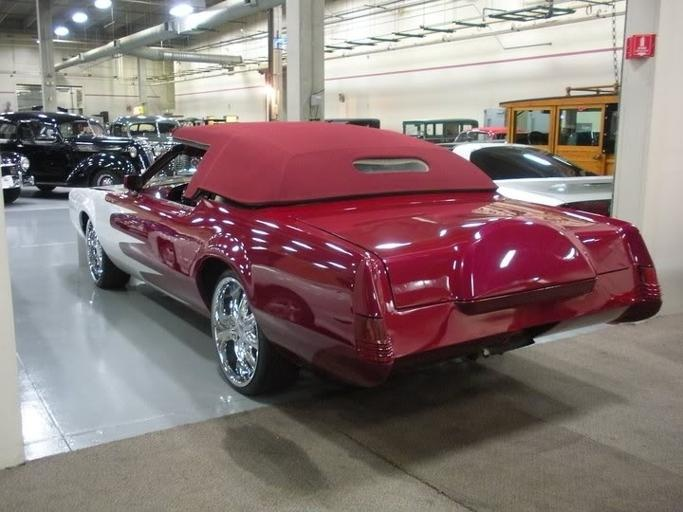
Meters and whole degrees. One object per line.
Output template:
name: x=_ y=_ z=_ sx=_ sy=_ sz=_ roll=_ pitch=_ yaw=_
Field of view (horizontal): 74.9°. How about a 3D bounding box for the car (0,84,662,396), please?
car: x=0.010 y=-0.057 z=2.736 sx=2.856 sy=1.563 sz=1.579 roll=12 pitch=18 yaw=41
